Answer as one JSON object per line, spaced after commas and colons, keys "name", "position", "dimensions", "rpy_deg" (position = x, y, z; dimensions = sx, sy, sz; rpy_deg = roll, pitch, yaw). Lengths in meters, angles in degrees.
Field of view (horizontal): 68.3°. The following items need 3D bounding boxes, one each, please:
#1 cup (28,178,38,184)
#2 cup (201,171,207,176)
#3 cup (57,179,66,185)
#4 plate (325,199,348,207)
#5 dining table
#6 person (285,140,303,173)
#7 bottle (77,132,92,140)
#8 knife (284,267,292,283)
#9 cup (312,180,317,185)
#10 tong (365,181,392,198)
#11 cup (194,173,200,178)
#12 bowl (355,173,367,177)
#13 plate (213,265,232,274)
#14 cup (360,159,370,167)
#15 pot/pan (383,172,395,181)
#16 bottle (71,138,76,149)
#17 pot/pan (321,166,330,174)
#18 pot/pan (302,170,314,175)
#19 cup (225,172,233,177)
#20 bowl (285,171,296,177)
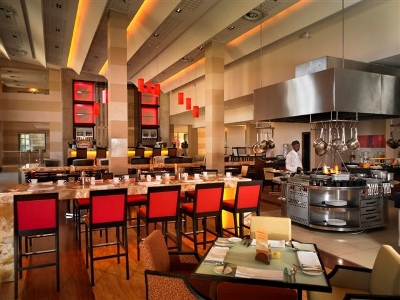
{"name": "cup", "position": [-2.926, 0.558, 5.237], "dimensions": [0.121, 0.116, 0.185], "rpy_deg": [0, -4, 15]}
{"name": "cup", "position": [0.074, 0.504, 6.283], "dimensions": [0.117, 0.084, 0.079], "rpy_deg": [-2, 0, 41]}
{"name": "cup", "position": [-2.404, 0.560, 5.132], "dimensions": [0.148, 0.100, 0.113], "rpy_deg": [6, -8, -37]}
{"name": "plate", "position": [2.867, 1.114, 6.240], "dimensions": [0.454, 0.100, 0.325], "rpy_deg": [0, 0, 13]}
{"name": "dining table", "position": [0.649, 1.282, 3.276], "dimensions": [1.370, 0.246, 0.621], "rpy_deg": [0, 0, 7]}
{"name": "person", "position": [2.524, 0.159, 7.920], "dimensions": [0.426, 0.800, 0.383], "rpy_deg": [0, 0, 3]}
{"name": "bottle", "position": [-6.152, -0.787, 15.651], "dimensions": [0.868, 0.429, 0.159], "rpy_deg": [0, 0, -32]}
{"name": "knife", "position": [0.902, 1.304, 3.053], "dimensions": [0.049, 0.014, 0.165], "rpy_deg": [0, 8, 6]}
{"name": "cup", "position": [2.374, 0.679, 6.175], "dimensions": [0.090, 0.070, 0.129], "rpy_deg": [-1, 13, 18]}
{"name": "tong", "position": [3.706, 0.832, 6.162], "dimensions": [0.531, 0.295, 0.129], "rpy_deg": [3, -4, -5]}
{"name": "cup", "position": [-0.072, 0.541, 6.139], "dimensions": [0.081, 0.080, 0.119], "rpy_deg": [-6, -7, 41]}
{"name": "bowl", "position": [3.631, 0.574, 6.669], "dimensions": [0.142, 0.050, 0.141], "rpy_deg": [0, 1, 0]}
{"name": "plate", "position": [0.233, 1.272, 3.121], "dimensions": [0.186, 0.042, 0.147], "rpy_deg": [-1, -1, 27]}
{"name": "cup", "position": [5.196, 0.428, 9.298], "dimensions": [0.368, 0.152, 0.307], "rpy_deg": [-4, 6, -34]}
{"name": "pot/pan", "position": [4.156, 0.575, 6.534], "dimensions": [0.209, 0.138, 0.285], "rpy_deg": [0, -1, -44]}
{"name": "bottle", "position": [-5.891, -0.289, 13.741], "dimensions": [0.186, 0.383, 1.222], "rpy_deg": [-1, 0, -23]}
{"name": "pot/pan", "position": [3.088, 0.487, 7.291], "dimensions": [0.214, 0.233, 0.211], "rpy_deg": [-1, 3, -6]}
{"name": "pot/pan", "position": [2.741, 0.572, 7.407], "dimensions": [0.265, 0.058, 0.261], "rpy_deg": [-1, 1, -16]}
{"name": "cup", "position": [0.605, 0.526, 6.323], "dimensions": [0.179, 0.127, 0.114], "rpy_deg": [3, -5, -39]}
{"name": "bowl", "position": [2.163, 0.590, 7.174], "dimensions": [0.156, 0.072, 0.185], "rpy_deg": [1, 3, -10]}
